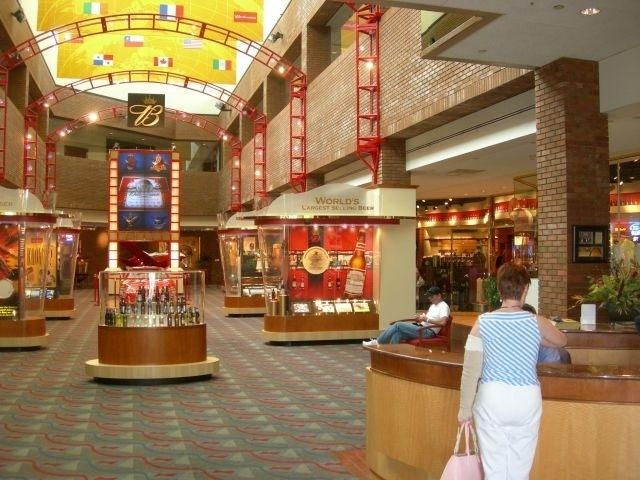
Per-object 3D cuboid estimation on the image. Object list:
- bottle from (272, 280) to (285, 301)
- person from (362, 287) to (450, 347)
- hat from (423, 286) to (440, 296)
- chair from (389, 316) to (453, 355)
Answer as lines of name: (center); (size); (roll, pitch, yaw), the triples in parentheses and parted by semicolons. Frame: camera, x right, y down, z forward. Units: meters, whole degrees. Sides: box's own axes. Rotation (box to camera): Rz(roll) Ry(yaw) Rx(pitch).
bottle: (-0.964, 1.131, 10.677); (0.370, 0.434, 0.141); (-1, -4, 37)
person: (1.368, 1.262, 7.428); (1.465, 0.755, 0.569); (-12, 10, -3)
hat: (1.807, 0.851, 7.452); (0.306, 0.124, 0.203); (5, 5, 6)
chair: (1.692, 1.491, 7.386); (0.703, 0.673, 0.561); (2, -4, -16)
